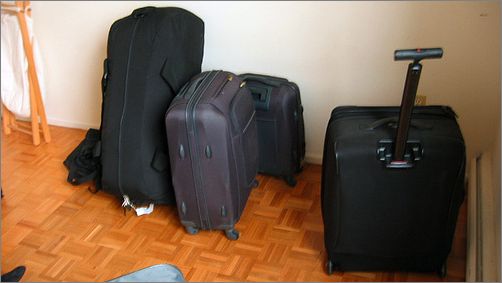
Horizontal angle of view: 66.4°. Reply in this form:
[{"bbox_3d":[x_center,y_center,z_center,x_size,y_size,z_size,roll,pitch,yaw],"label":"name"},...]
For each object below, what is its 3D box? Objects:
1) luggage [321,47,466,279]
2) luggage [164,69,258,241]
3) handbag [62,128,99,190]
[{"bbox_3d":[0.956,0.155,2.545,0.891,1.521,0.605,5,28,8],"label":"luggage"},{"bbox_3d":[-0.278,0.091,2.948,0.629,1.129,0.649,5,27,7],"label":"luggage"},{"bbox_3d":[-1.405,0.118,3.333,0.173,0.403,0.514,15,56,-2],"label":"handbag"}]
